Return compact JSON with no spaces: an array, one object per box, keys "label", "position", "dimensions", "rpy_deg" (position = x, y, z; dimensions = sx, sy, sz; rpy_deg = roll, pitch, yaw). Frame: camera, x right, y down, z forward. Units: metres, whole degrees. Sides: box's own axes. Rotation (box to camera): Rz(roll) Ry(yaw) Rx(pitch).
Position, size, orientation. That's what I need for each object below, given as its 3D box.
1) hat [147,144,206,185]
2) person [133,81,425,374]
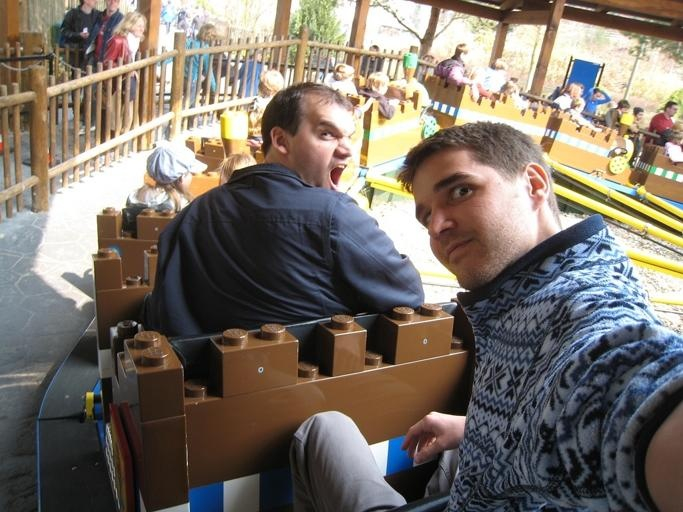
[{"label":"hat","position":[-1.202,-0.671,3.871],"dimensions":[0.393,0.219,0.299],"rpy_deg":[0,7,10]},{"label":"person","position":[-0.289,-0.119,2.434],"dimensions":[1.339,1.340,0.750],"rpy_deg":[6,6,18]}]
